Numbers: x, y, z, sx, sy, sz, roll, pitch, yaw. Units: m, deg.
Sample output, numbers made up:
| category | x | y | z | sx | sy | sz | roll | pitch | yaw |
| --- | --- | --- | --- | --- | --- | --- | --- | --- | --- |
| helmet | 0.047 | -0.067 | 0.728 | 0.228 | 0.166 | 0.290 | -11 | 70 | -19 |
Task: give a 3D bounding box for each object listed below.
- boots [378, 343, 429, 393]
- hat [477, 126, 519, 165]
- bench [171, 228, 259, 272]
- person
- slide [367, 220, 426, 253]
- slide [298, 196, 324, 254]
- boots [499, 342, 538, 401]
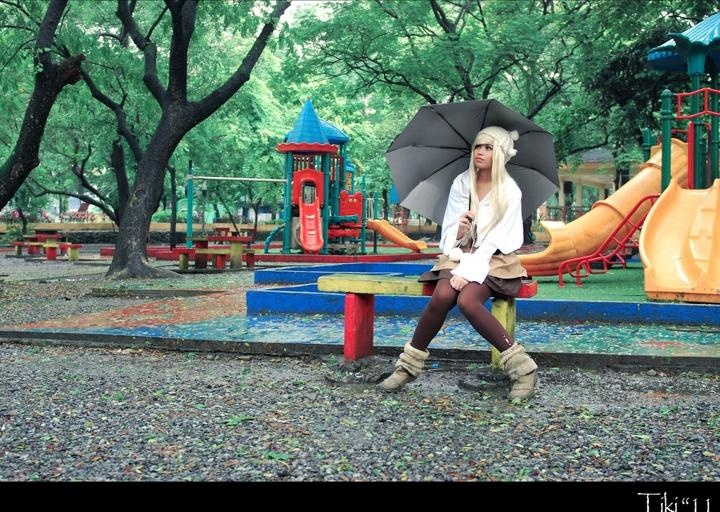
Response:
| category | x | y | z | sx | sy | sz | roll | pitch | yaw |
| --- | --- | --- | --- | --- | --- | --- | --- | --- | --- |
| boots | 0.305 | 0.793 | 4.963 | 0.206 | 0.276 | 0.419 | 22 | 22 | 34 |
| hat | 1.088 | -0.893 | 5.270 | 0.282 | 0.217 | 0.226 | -15 | 21 | 29 |
| bench | -2.813 | -0.048 | 14.165 | 1.342 | 0.548 | 1.312 | -1 | -2 | 25 |
| person | 0.736 | 0.007 | 5.044 | 1.255 | 1.807 | 1.162 | 1 | 14 | 10 |
| slide | 1.136 | -0.646 | 20.889 | 1.904 | 0.722 | 0.601 | 11 | 2 | 19 |
| slide | -1.180 | -0.733 | 16.519 | 0.489 | 1.458 | 0.296 | 3 | -23 | -16 |
| boots | 1.113 | 0.804 | 4.845 | 0.204 | 0.374 | 0.408 | -12 | 18 | 28 |
